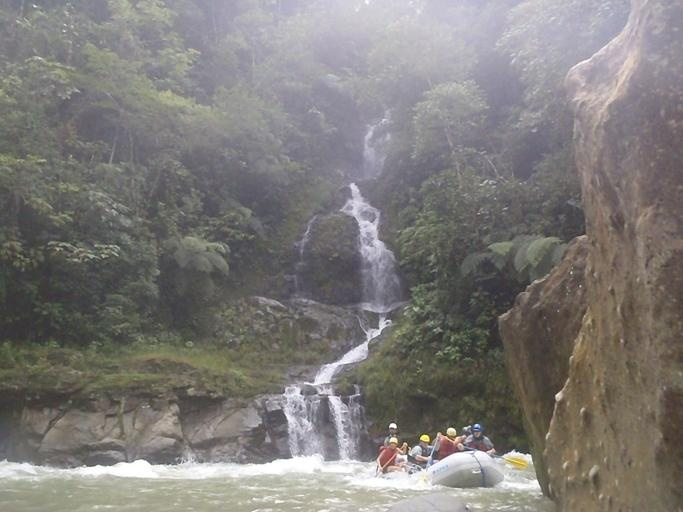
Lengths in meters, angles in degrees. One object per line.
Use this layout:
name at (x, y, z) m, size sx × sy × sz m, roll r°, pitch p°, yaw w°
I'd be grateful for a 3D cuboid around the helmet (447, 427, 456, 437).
helmet at (3.824, 6.071, 25.659) m, size 0.295 × 0.341 × 0.419 m, roll -2°, pitch -29°, yaw 12°

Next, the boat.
boat at (3.567, 7.159, 24.194) m, size 2.846 × 0.743 × 1.701 m, roll -14°, pitch -34°, yaw 22°

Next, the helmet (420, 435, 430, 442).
helmet at (2.974, 6.537, 26.399) m, size 0.377 × 0.288 × 0.548 m, roll 3°, pitch -13°, yaw -6°

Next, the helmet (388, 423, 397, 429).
helmet at (1.875, 6.196, 27.075) m, size 0.282 × 0.186 × 0.456 m, roll 3°, pitch -22°, yaw 13°
